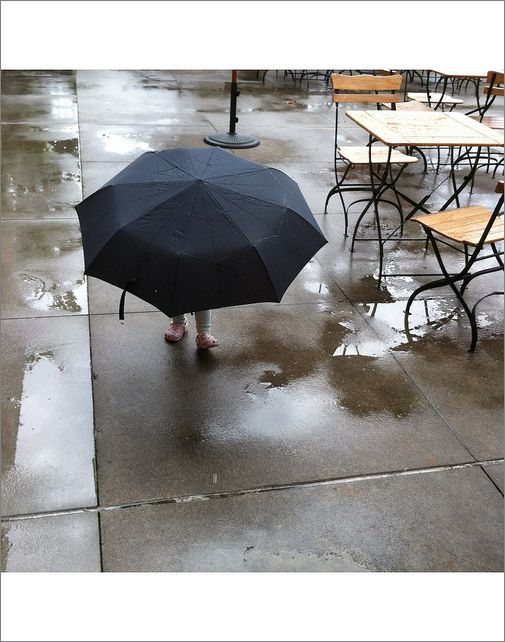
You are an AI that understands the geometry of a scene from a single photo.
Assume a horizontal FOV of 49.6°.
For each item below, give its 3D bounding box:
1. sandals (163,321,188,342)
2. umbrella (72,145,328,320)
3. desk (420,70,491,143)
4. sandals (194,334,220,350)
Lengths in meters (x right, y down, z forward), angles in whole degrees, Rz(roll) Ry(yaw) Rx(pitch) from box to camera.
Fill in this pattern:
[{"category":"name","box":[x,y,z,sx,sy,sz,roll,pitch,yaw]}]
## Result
[{"category":"sandals","box":[-0.531,0.075,3.735,0.086,0.070,0.184,8,25,8]},{"category":"umbrella","box":[-0.286,-0.495,2.784,1.109,0.655,1.016,11,23,25]},{"category":"desk","box":[3.166,-3.552,8.629,0.816,0.668,0.777,-10,25,-22]},{"category":"sandals","box":[-0.300,0.142,3.634,0.085,0.068,0.155,-14,5,-21]}]
